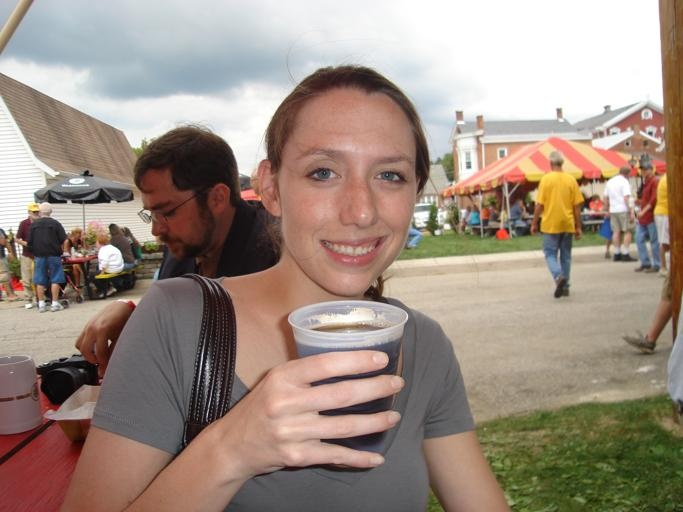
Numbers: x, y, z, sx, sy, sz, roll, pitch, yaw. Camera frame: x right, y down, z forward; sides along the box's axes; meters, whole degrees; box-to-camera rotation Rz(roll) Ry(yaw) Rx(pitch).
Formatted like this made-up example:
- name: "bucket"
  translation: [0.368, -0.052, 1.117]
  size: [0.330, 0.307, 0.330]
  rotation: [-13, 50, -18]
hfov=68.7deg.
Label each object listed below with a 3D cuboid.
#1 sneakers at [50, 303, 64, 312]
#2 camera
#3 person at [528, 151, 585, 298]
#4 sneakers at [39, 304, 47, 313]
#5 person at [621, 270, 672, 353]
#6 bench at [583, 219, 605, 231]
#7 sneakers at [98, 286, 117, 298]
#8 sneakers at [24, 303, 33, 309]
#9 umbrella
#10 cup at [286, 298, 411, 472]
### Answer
- name: "sneakers"
  translation: [-6.405, 1.116, 11.123]
  size: [0.152, 0.183, 0.330]
  rotation: [4, 6, 12]
- name: "camera"
  translation: [-1.516, 0.632, 2.682]
  size: [0.269, 0.153, 0.218]
  rotation: [1, 9, 20]
- name: "person"
  translation: [3.998, -0.612, 9.262]
  size: [0.849, 2.684, 1.385]
  rotation: [-1, 8, 22]
- name: "sneakers"
  translation: [-6.672, 1.154, 11.161]
  size: [0.154, 0.168, 0.405]
  rotation: [-2, -5, -15]
- name: "person"
  translation: [4.182, 0.775, 6.872]
  size: [0.548, 0.243, 1.071]
  rotation: [2, -37, 20]
- name: "bench"
  translation: [9.647, -1.213, 19.107]
  size: [0.733, 0.394, 1.027]
  rotation: [1, 6, 14]
- name: "sneakers"
  translation: [-6.003, 0.907, 12.719]
  size: [0.187, 0.219, 0.536]
  rotation: [-1, -4, -3]
- name: "sneakers"
  translation: [-7.383, 1.155, 11.747]
  size: [0.180, 0.069, 0.584]
  rotation: [-8, 8, -34]
- name: "umbrella"
  translation: [-6.362, -1.618, 12.480]
  size: [2.044, 1.373, 1.986]
  rotation: [1, 8, -9]
- name: "cup"
  translation: [0.018, 0.377, 1.609]
  size: [0.468, 0.466, 0.470]
  rotation: [-2, -7, 0]
